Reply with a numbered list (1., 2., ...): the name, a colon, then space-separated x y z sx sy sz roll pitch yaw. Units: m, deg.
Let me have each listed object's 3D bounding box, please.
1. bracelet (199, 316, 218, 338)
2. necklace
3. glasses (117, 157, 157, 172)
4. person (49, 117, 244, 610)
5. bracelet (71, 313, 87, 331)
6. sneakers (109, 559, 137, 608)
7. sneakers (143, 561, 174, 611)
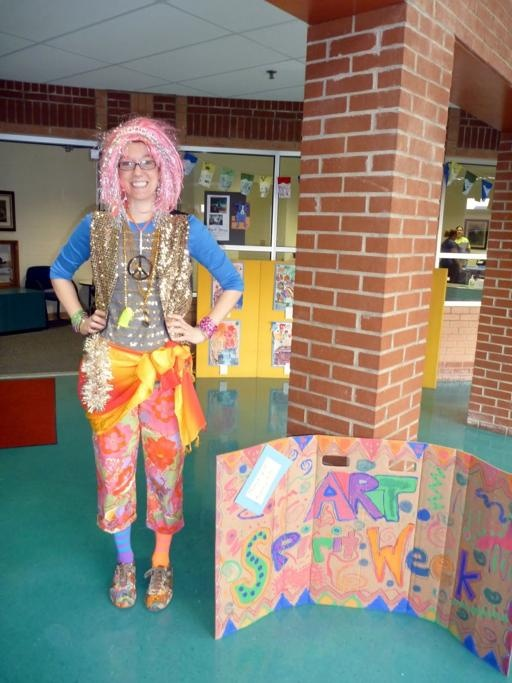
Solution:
1. bracelet: -0.159 -0.044 1.731 0.055 0.070 0.026 4 -18 -18
2. necklace: -0.366 -0.223 1.618 0.117 0.344 0.054 -2 8 -11
3. glasses: -0.366 -0.547 1.563 0.112 0.042 0.031 -2 8 -16
4. person: -0.372 0.105 1.746 0.662 1.674 0.325 -1 8 -10
5. bracelet: -0.620 -0.067 1.756 0.060 0.046 0.059 -3 -2 -2
6. sneakers: -0.475 0.863 1.809 0.066 0.069 0.167 1 14 -14
7. sneakers: -0.361 0.870 1.813 0.067 0.076 0.157 1 9 -9
